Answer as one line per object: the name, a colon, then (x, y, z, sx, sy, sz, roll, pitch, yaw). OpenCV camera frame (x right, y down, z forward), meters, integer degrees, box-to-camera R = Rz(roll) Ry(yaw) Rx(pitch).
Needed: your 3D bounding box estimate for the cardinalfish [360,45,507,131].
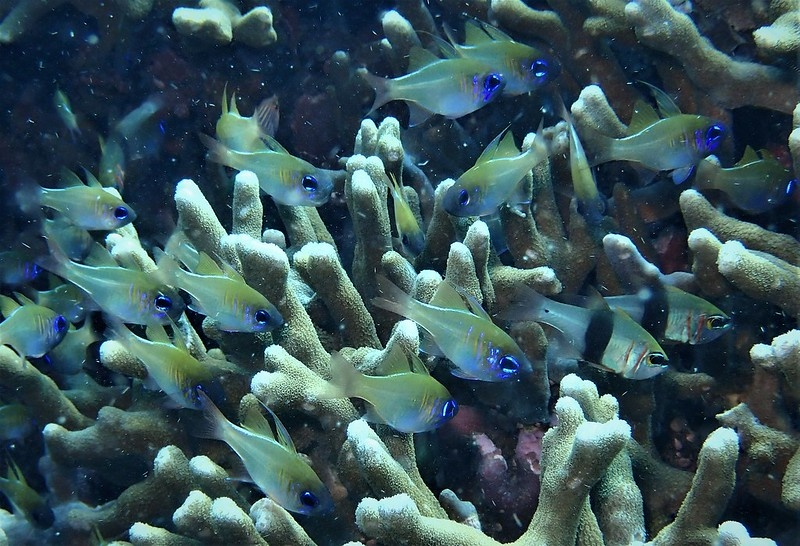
cardinalfish: (0.324, -1.508, 6.968, 0.855, 0.553, 0.167, -2, 19, 12)
